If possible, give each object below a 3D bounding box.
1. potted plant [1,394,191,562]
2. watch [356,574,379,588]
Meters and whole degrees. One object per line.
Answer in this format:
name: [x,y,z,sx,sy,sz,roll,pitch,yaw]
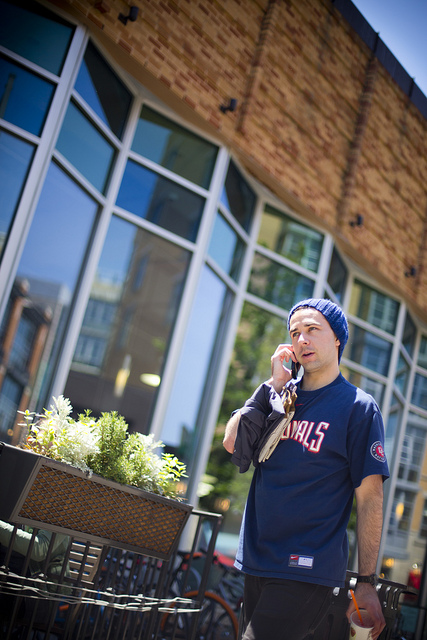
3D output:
potted plant: [-0.480,0.666,2.518,0.834,0.497,0.322,26,-13,-40]
watch: [0.477,0.797,1.846,0.058,0.037,0.061,2,-12,-16]
